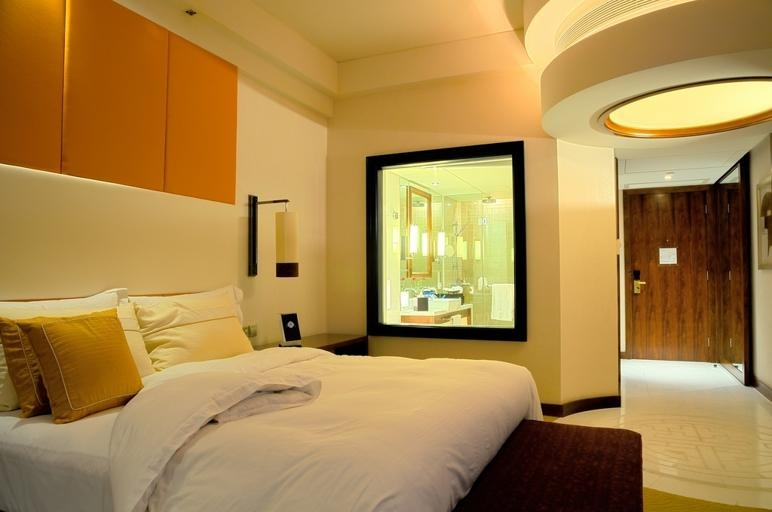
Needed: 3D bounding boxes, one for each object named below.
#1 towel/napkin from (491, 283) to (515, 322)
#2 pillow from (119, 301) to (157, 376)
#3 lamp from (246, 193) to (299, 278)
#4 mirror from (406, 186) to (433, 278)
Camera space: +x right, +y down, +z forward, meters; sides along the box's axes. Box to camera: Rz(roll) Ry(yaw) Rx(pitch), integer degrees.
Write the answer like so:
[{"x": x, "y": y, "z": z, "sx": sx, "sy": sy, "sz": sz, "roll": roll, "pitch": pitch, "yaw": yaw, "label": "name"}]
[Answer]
[{"x": 1.186, "y": 0.486, "z": 5.251, "sx": 0.282, "sy": 0.366, "sz": 0.096, "roll": 1, "pitch": -1, "yaw": 20, "label": "towel/napkin"}, {"x": -1.726, "y": 0.579, "z": 3.516, "sx": 0.106, "sy": 0.611, "sz": 0.060, "roll": -27, "pitch": 46, "yaw": -17, "label": "pillow"}, {"x": -1.103, "y": -0.200, "z": 4.941, "sx": 0.395, "sy": 0.755, "sz": 0.527, "roll": -3, "pitch": -1, "yaw": -44, "label": "lamp"}, {"x": 0.370, "y": -0.271, "z": 5.783, "sx": 0.312, "sy": 1.040, "sz": 0.116, "roll": -3, "pitch": 0, "yaw": 24, "label": "mirror"}]
